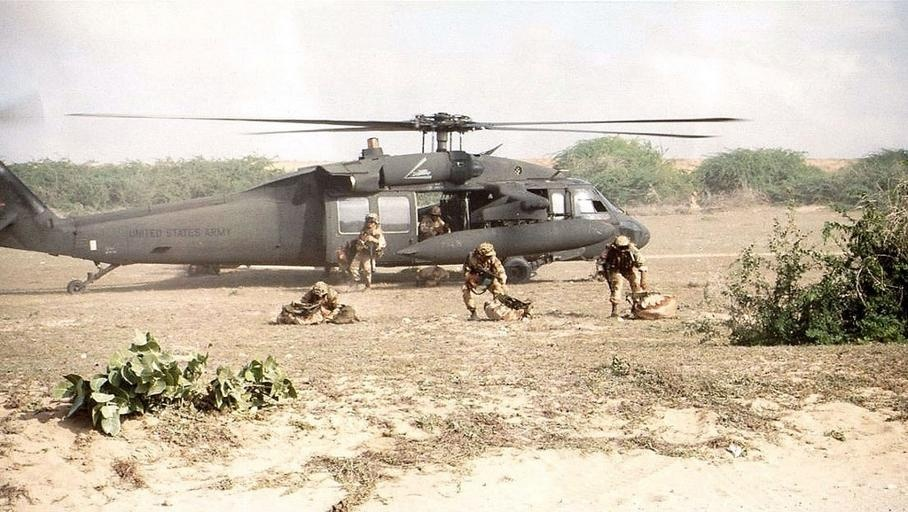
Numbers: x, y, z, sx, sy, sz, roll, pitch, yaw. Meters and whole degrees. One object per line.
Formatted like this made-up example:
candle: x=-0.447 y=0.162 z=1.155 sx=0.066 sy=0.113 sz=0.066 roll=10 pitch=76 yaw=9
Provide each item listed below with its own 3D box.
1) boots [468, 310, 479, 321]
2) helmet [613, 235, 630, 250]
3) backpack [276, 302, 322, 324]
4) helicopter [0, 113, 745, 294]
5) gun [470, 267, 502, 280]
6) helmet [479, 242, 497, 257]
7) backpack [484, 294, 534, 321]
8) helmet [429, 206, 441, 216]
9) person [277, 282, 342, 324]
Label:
boots: x=0.408 y=1.229 z=14.590 sx=0.265 sy=0.190 sz=0.225 roll=-8 pitch=14 yaw=7
helmet: x=3.642 y=-0.287 z=15.101 sx=0.345 sy=0.247 sz=0.248 roll=-4 pitch=5 yaw=-16
backpack: x=-3.169 y=1.166 z=14.267 sx=0.756 sy=0.219 sz=0.537 roll=0 pitch=4 yaw=-10
helicopter: x=-3.313 y=-1.086 z=18.515 sx=11.049 sy=2.460 sz=7.762 roll=-2 pitch=4 yaw=-10
gun: x=0.643 y=0.386 z=14.661 sx=0.505 sy=0.136 sz=0.333 roll=10 pitch=-9 yaw=6
helmet: x=0.671 y=-0.123 z=14.762 sx=0.338 sy=0.177 sz=0.427 roll=-1 pitch=3 yaw=-12
backpack: x=1.195 y=1.072 z=14.591 sx=0.691 sy=0.305 sz=0.774 roll=1 pitch=0 yaw=32
helmet: x=-0.506 y=-1.187 z=18.578 sx=0.283 sy=0.097 sz=0.290 roll=6 pitch=7 yaw=-15
person: x=-2.898 y=0.986 z=14.422 sx=0.957 sy=0.438 sz=1.139 roll=6 pitch=13 yaw=19
